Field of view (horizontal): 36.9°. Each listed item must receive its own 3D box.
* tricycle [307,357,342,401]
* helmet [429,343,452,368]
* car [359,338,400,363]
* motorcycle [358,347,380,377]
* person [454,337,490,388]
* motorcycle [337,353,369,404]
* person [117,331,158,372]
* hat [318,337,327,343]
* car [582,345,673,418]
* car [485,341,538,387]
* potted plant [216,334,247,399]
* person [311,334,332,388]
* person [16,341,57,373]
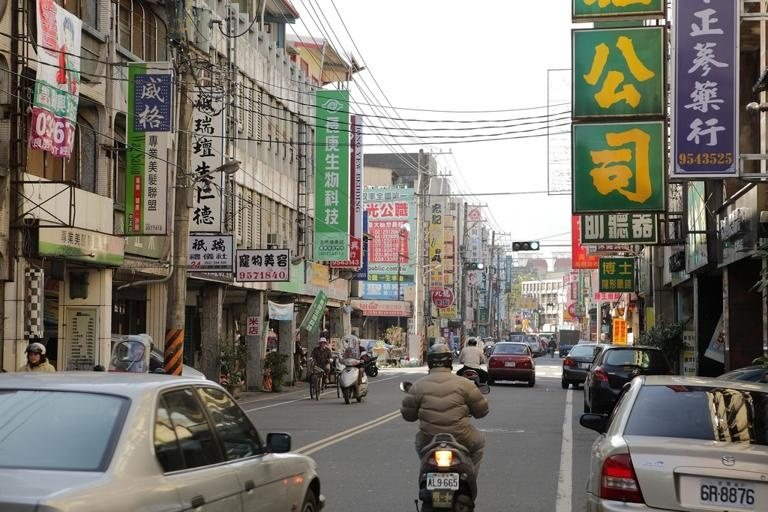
[{"bbox_3d":[-2.081,4.151,38.453,0.827,1.117,1.835,-3,-8,13],"label":"tricycle"},{"bbox_3d":[0.871,1.560,17.868,0.284,0.309,0.399,-2,-25,2],"label":"helmet"},{"bbox_3d":[0.037,5.393,66.670,1.610,1.132,2.241,-2,-9,10],"label":"car"},{"bbox_3d":[-0.354,4.506,48.829,0.861,1.115,1.654,-3,-9,6],"label":"motorcycle"},{"bbox_3d":[2.565,2.848,33.224,0.943,1.085,1.611,2,7,5],"label":"person"},{"bbox_3d":[-0.958,3.722,34.501,0.698,1.376,1.454,-1,-7,7],"label":"motorcycle"},{"bbox_3d":[-5.491,2.154,25.597,0.895,0.990,0.685,8,-2,-30],"label":"person"},{"bbox_3d":[-1.993,2.715,37.802,0.214,0.124,0.322,0,-10,-2],"label":"hat"},{"bbox_3d":[5.911,3.057,28.876,1.297,1.257,2.479,1,0,8],"label":"car"},{"bbox_3d":[4.528,3.892,40.716,1.391,1.279,3.491,1,0,8],"label":"car"},{"bbox_3d":[-4.871,3.686,37.261,0.775,1.907,1.034,-4,-7,28],"label":"potted plant"},{"bbox_3d":[-1.976,3.512,38.469,0.915,1.074,1.666,-1,-11,0],"label":"person"},{"bbox_3d":[-6.657,1.910,22.081,0.480,0.571,1.093,2,-8,-16],"label":"person"}]
